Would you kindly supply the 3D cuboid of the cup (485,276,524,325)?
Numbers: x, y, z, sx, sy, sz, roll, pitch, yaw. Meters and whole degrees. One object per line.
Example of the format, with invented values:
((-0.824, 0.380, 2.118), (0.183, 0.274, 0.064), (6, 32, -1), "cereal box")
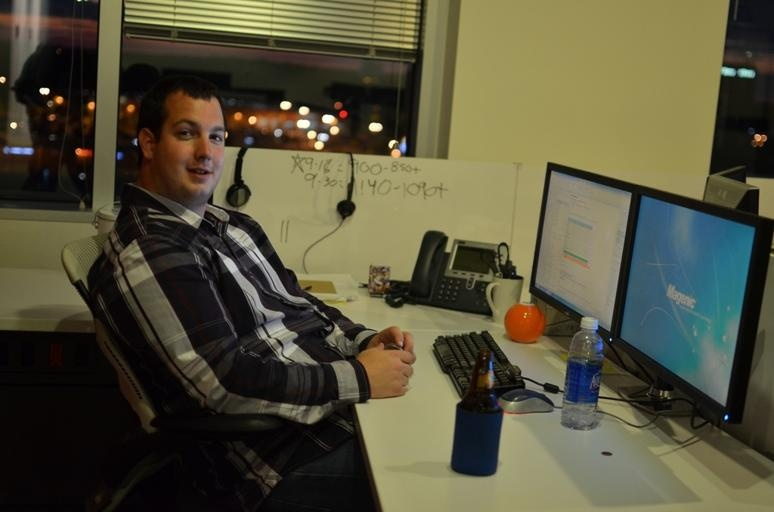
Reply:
((0.499, 0.172, 2.343), (0.198, 0.201, 0.121), (-4, 9, -41), "cup")

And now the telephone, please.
((0.307, 0.087, 2.458), (0.462, 0.306, 0.343), (7, 30, 17), "telephone")

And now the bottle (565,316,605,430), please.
((0.584, 0.330, 1.662), (0.107, 0.289, 0.239), (9, 12, 19), "bottle")

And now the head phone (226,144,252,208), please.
((-0.707, -0.374, 2.687), (0.113, 0.347, 0.273), (5, -1, -7), "head phone")

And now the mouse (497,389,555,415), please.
((0.406, 0.433, 1.658), (0.132, 0.045, 0.080), (-2, 5, -16), "mouse")

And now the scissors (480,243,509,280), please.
((0.475, 0.027, 2.435), (0.145, 0.148, 0.042), (-23, -9, 20), "scissors")
